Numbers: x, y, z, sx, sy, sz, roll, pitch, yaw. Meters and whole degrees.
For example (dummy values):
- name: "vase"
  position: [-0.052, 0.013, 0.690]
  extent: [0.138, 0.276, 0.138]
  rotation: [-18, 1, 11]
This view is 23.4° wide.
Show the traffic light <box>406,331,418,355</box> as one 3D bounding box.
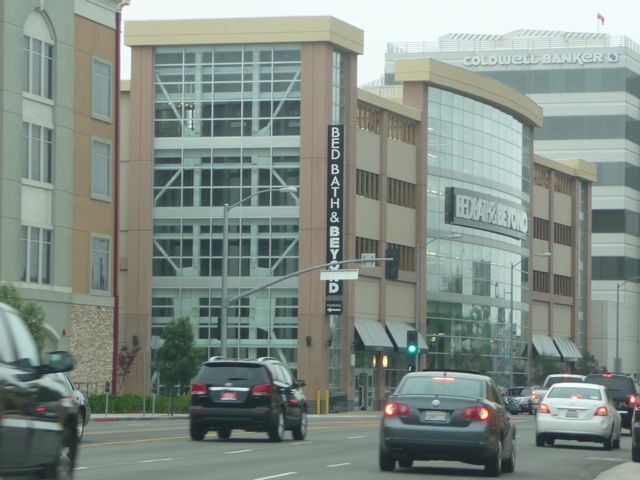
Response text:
- name: "traffic light"
  position: [4.611, 4.964, 76.849]
  extent: [0.464, 1.207, 0.771]
  rotation: [1, -10, 1]

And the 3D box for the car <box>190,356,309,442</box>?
- name: "car"
  position: [-2.348, 5.724, 55.241]
  extent: [3.283, 3.040, 7.191]
  rotation: [0, -6, 8]

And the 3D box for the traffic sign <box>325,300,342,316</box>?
- name: "traffic sign"
  position: [0.742, 3.611, 85.526]
  extent: [0.886, 0.989, 0.668]
  rotation: [1, 2, 11]
